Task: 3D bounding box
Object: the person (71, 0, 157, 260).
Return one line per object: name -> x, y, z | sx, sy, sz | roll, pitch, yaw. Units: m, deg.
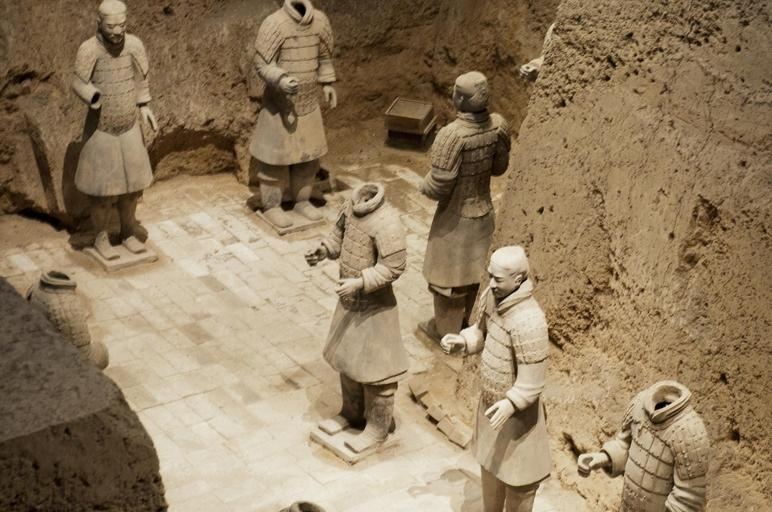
person -> -2.814, -1.268, 11.026 | 0.926, 2.693, 0.717 | -22, 41, -32
